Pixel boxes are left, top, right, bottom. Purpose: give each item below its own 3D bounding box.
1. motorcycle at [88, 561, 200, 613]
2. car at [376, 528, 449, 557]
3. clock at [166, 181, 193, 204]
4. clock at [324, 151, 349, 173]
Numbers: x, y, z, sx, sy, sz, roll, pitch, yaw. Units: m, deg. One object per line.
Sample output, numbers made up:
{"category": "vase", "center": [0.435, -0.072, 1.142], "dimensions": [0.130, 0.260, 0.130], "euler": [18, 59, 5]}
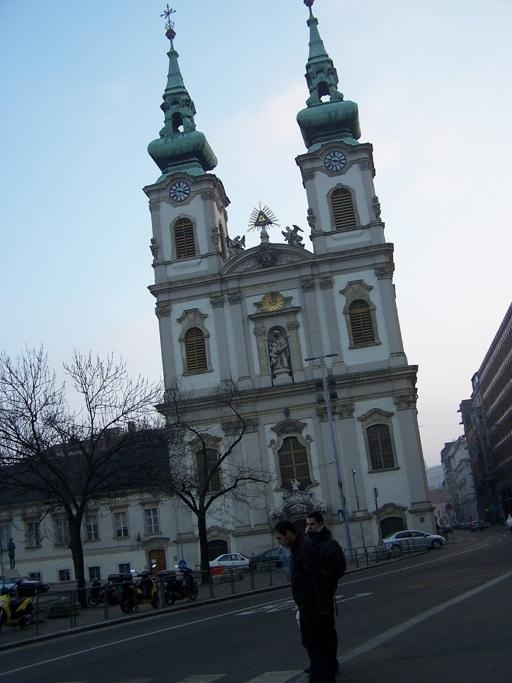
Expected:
{"category": "motorcycle", "center": [-3.139, 6.831, 22.330], "dimensions": [1.666, 1.057, 3.601], "euler": [-15, -14, 22]}
{"category": "car", "center": [7.843, 10.145, 41.372], "dimensions": [3.732, 1.110, 1.394], "euler": [-1, -15, -32]}
{"category": "clock", "center": [-4.856, -9.379, 52.027], "dimensions": [1.729, 1.509, 0.286], "euler": [0, -4, 11]}
{"category": "clock", "center": [4.951, -10.889, 50.160], "dimensions": [1.647, 1.658, 0.470], "euler": [1, -22, 4]}
